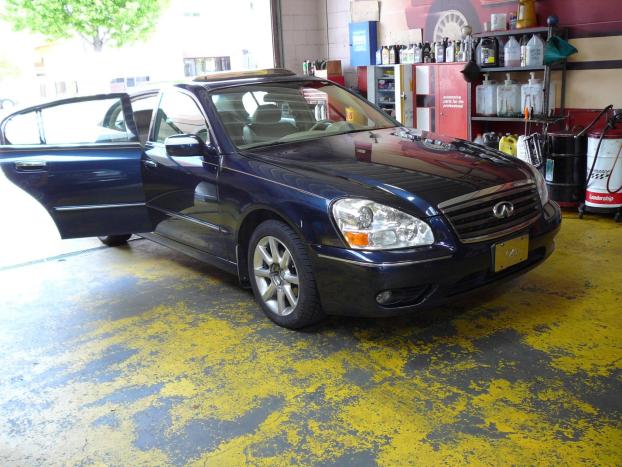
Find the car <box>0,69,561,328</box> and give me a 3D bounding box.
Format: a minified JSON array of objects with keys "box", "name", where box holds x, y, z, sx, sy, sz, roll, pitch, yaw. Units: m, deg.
[{"box":[-0.651,-0.364,3.100,3.791,0.877,2.279,10,18,35],"name":"car"}]
